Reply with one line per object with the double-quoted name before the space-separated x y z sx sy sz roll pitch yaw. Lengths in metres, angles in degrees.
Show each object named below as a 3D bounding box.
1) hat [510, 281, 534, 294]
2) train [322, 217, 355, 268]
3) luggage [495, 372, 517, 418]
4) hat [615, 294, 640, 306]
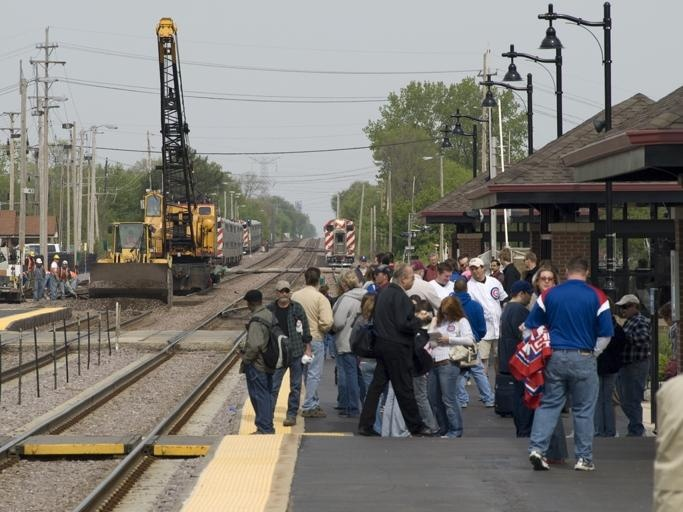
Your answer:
"hat" 2.594 0.478 15.854 0.251 0.147 0.177 -9 10 -20
"train" -0.211 -1.087 81.108 1.580 2.727 5.340 0 4 -1
"luggage" 2.505 2.134 16.696 0.350 0.598 0.362 3 -15 18
"hat" 4.008 0.622 15.510 0.310 0.151 0.217 2 -4 -1
